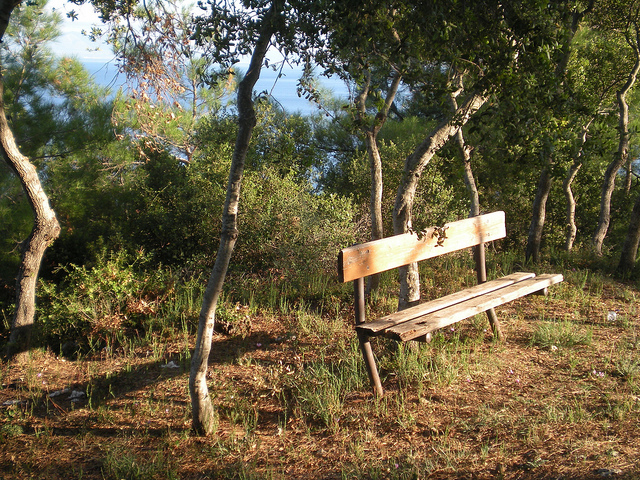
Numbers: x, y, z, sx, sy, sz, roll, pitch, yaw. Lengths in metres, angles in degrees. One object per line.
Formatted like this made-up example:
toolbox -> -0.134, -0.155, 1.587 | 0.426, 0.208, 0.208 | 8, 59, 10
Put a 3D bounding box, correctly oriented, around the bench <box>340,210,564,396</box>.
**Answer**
bench -> 1.740, 0.811, 9.006 | 3.283, 2.039, 1.264 | -12, 8, -41
